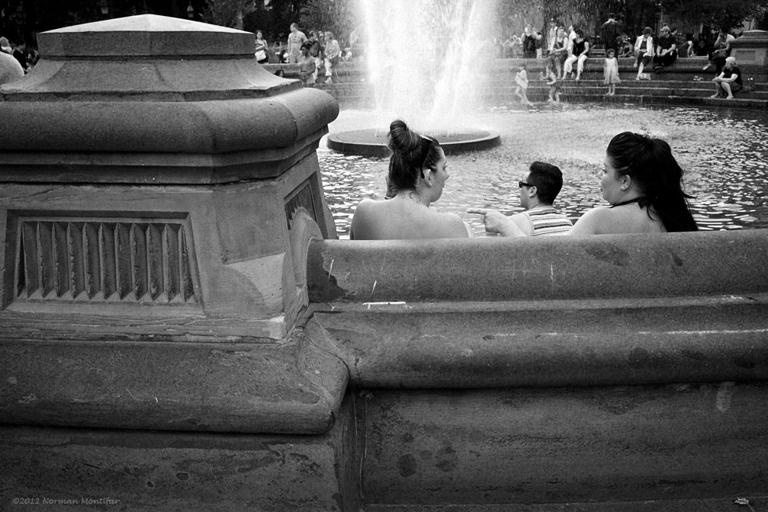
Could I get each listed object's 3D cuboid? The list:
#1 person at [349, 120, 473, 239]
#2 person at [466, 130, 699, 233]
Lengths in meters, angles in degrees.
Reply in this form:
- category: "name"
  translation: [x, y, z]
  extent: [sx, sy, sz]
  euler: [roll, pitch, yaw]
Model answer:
- category: "person"
  translation: [0.185, -0.351, 3.682]
  extent: [0.438, 0.784, 0.901]
  euler: [-6, 11, -42]
- category: "person"
  translation: [1.106, -0.365, 3.645]
  extent: [1.058, 0.505, 0.781]
  euler: [-2, 13, 32]
